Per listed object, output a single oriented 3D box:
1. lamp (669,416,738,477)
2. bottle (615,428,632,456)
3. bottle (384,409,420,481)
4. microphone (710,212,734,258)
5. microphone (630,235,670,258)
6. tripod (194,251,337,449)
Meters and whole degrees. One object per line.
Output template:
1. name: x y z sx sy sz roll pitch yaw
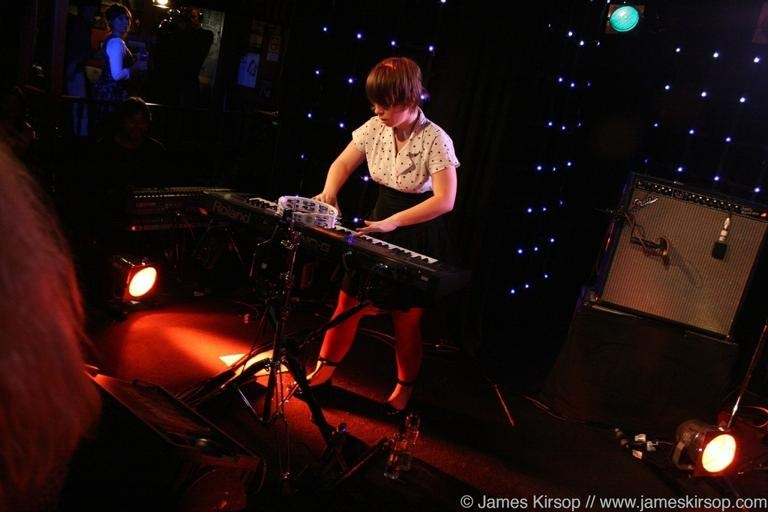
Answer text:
1. lamp: 1.944 1.165 3.410 0.375 0.278 0.372 -8 3 -4
2. bottle: 1.613 1.243 3.657 0.073 0.087 0.165 9 14 -8
3. bottle: 0.107 1.142 3.209 0.111 0.383 0.102 13 42 -11
4. microphone: 2.119 -0.113 3.390 0.085 0.284 0.053 19 16 30
5. microphone: 1.718 -0.070 3.534 0.167 0.104 0.115 14 7 9
6. tripod: -0.781 0.632 3.492 0.654 0.909 0.776 5 32 -30
